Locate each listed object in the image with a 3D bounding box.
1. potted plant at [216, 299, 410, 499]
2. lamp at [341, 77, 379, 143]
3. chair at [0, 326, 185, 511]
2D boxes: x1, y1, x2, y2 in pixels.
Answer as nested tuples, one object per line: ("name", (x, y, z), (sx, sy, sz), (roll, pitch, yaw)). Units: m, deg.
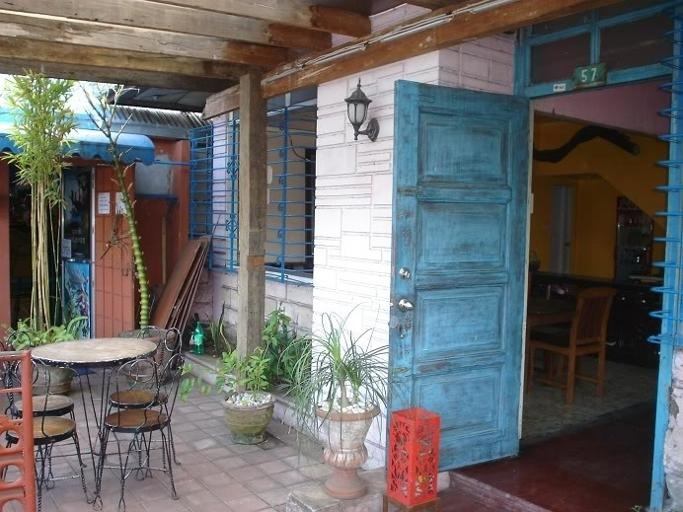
("potted plant", (-0.183, 1.035, 4.499), (1.381, 1.659, 1.287), (-3, 7, -23))
("lamp", (0.153, -1.190, 4.317), (0.294, 0.503, 0.254), (7, 14, 11))
("chair", (-1.843, 1.293, 4.762), (1.220, 1.432, 1.682), (2, 0, 44))
